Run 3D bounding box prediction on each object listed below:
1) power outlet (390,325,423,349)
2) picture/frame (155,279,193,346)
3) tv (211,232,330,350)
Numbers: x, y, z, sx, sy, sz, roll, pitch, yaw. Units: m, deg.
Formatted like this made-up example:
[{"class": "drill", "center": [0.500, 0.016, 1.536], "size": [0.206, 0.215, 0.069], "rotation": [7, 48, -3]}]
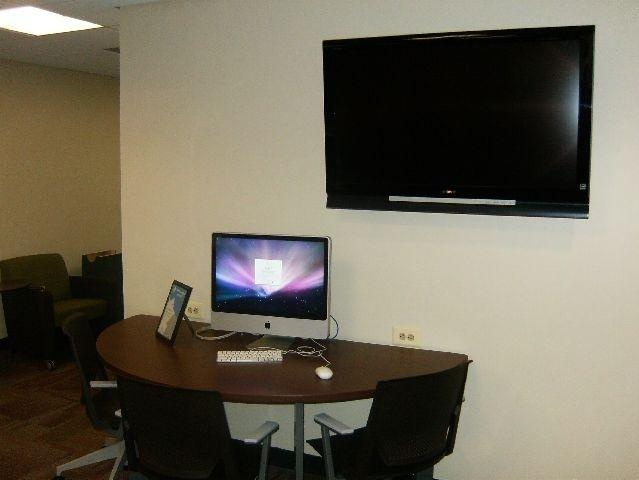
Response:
[{"class": "power outlet", "center": [0.526, 0.574, 3.411], "size": [0.187, 0.140, 0.107], "rotation": [1, -2, 21]}, {"class": "picture/frame", "center": [-0.914, 0.469, 3.556], "size": [0.022, 0.332, 0.277], "rotation": [17, 7, -36]}, {"class": "tv", "center": [-0.288, 0.296, 3.341], "size": [0.626, 0.551, 0.068], "rotation": [0, 3, 17]}]
